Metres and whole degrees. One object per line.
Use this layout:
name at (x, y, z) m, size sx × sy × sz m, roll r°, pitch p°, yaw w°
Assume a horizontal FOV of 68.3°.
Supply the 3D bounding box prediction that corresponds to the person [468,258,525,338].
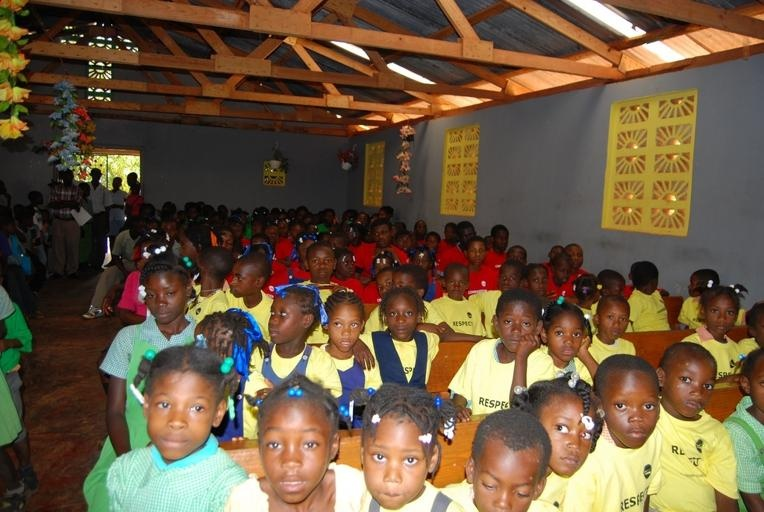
person at (1.043, 0.399, 5.224) m, size 0.631 × 0.783 × 0.256 m, roll 13°, pitch -19°, yaw 14°

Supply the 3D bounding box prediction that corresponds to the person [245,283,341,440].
person at (-0.670, 0.725, 3.749) m, size 0.730 × 0.961 × 0.693 m, roll 0°, pitch -14°, yaw 11°

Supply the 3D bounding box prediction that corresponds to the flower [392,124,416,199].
flower at (0.483, -2.083, 12.240) m, size 0.404 × 1.491 × 1.325 m, roll 4°, pitch 4°, yaw 2°

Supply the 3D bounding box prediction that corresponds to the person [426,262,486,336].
person at (0.720, 0.449, 5.555) m, size 0.678 × 0.932 × 0.364 m, roll -3°, pitch -12°, yaw -7°

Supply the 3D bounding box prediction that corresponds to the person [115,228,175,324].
person at (-2.055, 0.238, 4.909) m, size 0.541 × 0.714 × 0.450 m, roll 2°, pitch 7°, yaw 5°

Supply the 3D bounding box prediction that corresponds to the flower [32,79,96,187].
flower at (-3.260, -1.317, 5.669) m, size 0.354 × 0.583 × 0.335 m, roll -1°, pitch 2°, yaw 44°

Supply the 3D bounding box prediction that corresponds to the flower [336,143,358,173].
flower at (-0.927, -2.665, 15.199) m, size 0.458 × 0.719 × 0.980 m, roll 3°, pitch 4°, yaw -14°

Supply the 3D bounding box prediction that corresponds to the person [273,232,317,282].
person at (-1.036, 0.026, 6.638) m, size 0.634 × 0.700 × 0.372 m, roll 2°, pitch 8°, yaw -26°
